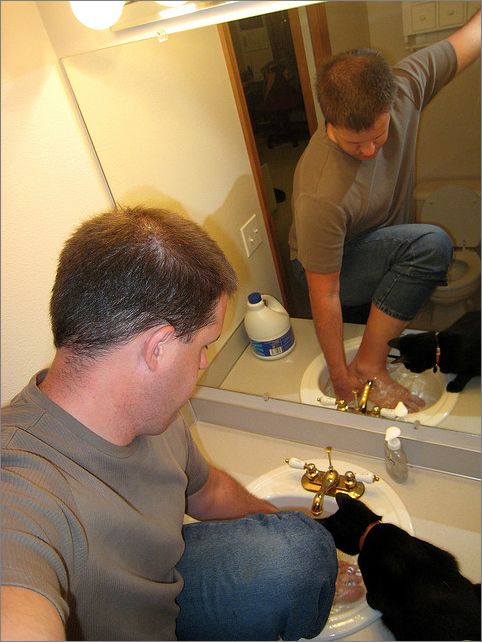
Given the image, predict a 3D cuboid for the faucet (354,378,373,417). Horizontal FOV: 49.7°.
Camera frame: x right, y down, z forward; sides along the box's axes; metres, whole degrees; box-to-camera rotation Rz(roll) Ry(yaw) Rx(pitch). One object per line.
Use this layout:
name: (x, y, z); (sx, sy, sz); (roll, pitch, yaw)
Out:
faucet: (0.300, 0.194, 1.293); (0.029, 0.097, 0.040); (11, 24, 15)

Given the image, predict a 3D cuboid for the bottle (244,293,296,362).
bottle: (0.078, 0.009, 1.365); (0.134, 0.183, 0.105); (-10, 41, 22)
